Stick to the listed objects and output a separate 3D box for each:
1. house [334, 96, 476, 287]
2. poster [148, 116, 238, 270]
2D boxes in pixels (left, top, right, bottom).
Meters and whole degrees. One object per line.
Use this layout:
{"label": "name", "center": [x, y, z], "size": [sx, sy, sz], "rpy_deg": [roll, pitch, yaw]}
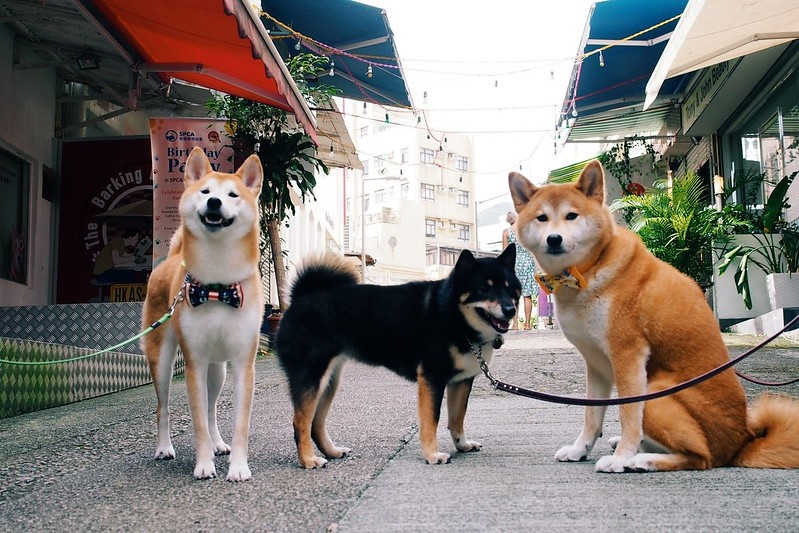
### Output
{"label": "house", "center": [1.779, -6.709, 56.888], "size": [12.915, 12.781, 7.027], "rpy_deg": [7, -15, -29]}
{"label": "poster", "center": [-3.126, -1.184, 9.313], "size": [1.288, 2.546, 0.086], "rpy_deg": [-2, -15, -14]}
